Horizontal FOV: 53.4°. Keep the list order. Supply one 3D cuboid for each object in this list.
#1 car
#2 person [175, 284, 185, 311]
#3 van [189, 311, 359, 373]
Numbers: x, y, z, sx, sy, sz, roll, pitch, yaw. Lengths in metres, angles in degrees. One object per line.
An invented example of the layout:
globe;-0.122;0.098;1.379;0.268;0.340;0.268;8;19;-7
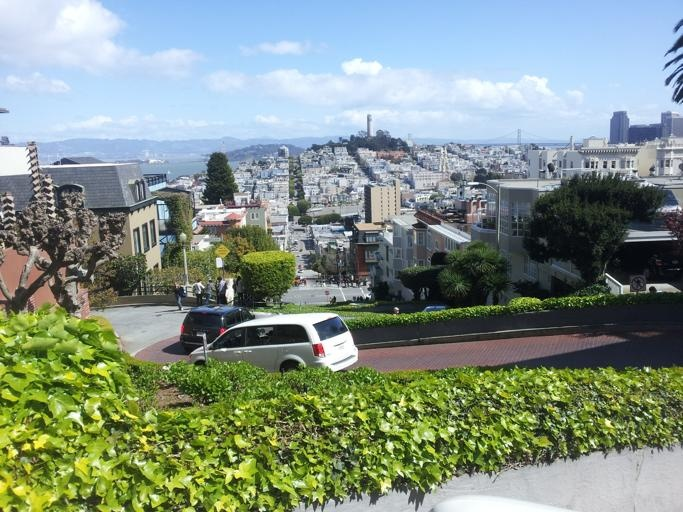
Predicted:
car;-3.959;2.334;21.147;1.233;1.024;2.152;1;10;19
person;-7.361;1.875;30.928;0.452;1.063;1.973;4;1;-14
van;-1.544;2.097;16.690;3.164;1.183;1.690;2;0;20
